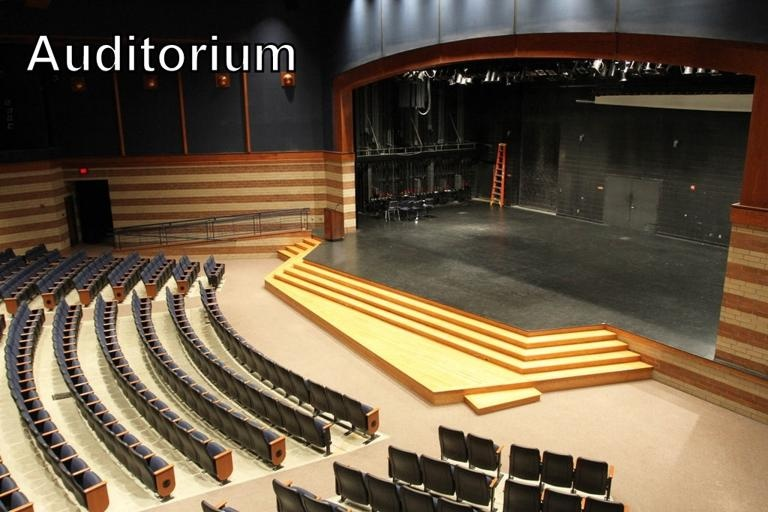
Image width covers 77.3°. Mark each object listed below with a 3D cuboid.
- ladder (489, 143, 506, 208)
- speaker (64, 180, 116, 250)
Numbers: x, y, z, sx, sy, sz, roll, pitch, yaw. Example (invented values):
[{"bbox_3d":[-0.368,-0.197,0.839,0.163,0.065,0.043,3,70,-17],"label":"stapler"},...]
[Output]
[{"bbox_3d":[4.376,-3.069,18.172,0.431,2.336,0.652,-9,16,-28],"label":"ladder"},{"bbox_3d":[-10.332,-1.552,16.800,1.029,2.124,1.637,-6,14,-18],"label":"speaker"}]
